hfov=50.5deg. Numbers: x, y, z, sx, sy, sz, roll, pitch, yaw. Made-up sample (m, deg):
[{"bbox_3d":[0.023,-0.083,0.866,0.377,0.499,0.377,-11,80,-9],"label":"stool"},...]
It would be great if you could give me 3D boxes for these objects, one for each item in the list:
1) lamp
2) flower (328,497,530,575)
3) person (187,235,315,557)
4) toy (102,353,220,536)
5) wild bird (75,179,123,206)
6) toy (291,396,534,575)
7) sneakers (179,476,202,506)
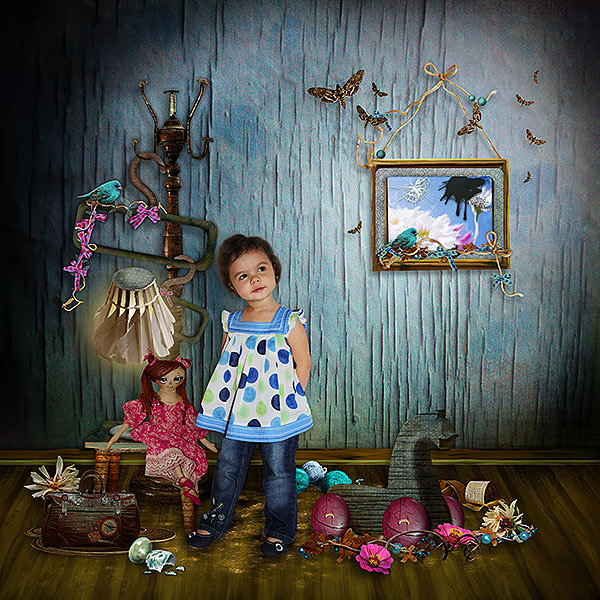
[{"bbox_3d":[-0.579,0.015,2.557,0.342,0.298,0.416,28,38,24],"label":"lamp"},{"bbox_3d":[0.482,0.745,2.133,0.484,0.136,0.288,-2,-2,-1],"label":"flower"},{"bbox_3d":[-0.170,0.304,2.312,0.423,1.043,0.567,0,11,-1],"label":"person"},{"bbox_3d":[-0.485,0.506,2.341,0.424,0.617,0.250,5,-33,-16],"label":"toy"},{"bbox_3d":[-0.849,-0.467,2.670,0.229,0.115,0.116,-1,-3,11],"label":"wild bird"},{"bbox_3d":[0.392,0.595,2.211,0.615,0.311,0.592,-3,-2,4],"label":"toy"},{"bbox_3d":[-0.389,0.674,2.247,0.060,0.111,0.036,-41,9,-34],"label":"sneakers"}]
